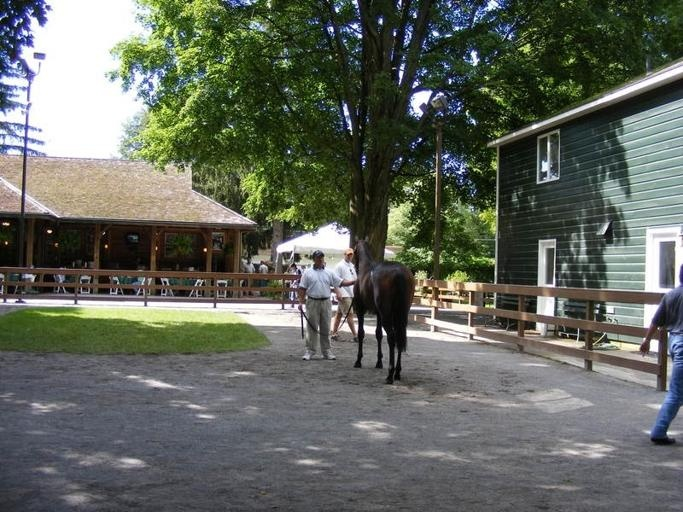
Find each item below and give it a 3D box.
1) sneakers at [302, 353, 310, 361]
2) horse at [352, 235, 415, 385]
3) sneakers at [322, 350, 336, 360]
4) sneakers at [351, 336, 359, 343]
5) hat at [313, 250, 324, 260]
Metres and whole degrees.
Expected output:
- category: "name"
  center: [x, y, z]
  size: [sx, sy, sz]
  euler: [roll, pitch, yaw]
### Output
- category: "sneakers"
  center: [-0.723, 2.080, 12.535]
  size: [0.181, 0.154, 0.328]
  euler: [4, -4, -4]
- category: "horse"
  center: [0.773, 1.105, 11.667]
  size: [0.974, 2.333, 2.641]
  euler: [4, -4, -3]
- category: "sneakers"
  center: [-0.262, 2.087, 12.742]
  size: [0.293, 0.193, 0.391]
  euler: [3, -4, -1]
- category: "sneakers"
  center: [0.345, 2.055, 14.903]
  size: [0.117, 0.220, 0.333]
  euler: [1, -13, -10]
- category: "hat"
  center: [-0.490, -0.062, 12.664]
  size: [0.283, 0.194, 0.450]
  euler: [-8, -3, -6]
